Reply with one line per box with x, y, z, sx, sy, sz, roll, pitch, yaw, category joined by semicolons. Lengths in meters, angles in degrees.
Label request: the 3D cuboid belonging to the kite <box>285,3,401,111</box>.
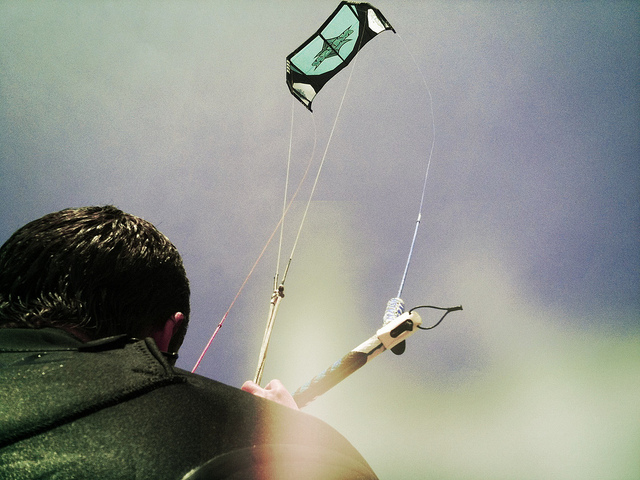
0.151;-2.337;7.802;1.057;1.077;1.420;20;-7;-13;kite
